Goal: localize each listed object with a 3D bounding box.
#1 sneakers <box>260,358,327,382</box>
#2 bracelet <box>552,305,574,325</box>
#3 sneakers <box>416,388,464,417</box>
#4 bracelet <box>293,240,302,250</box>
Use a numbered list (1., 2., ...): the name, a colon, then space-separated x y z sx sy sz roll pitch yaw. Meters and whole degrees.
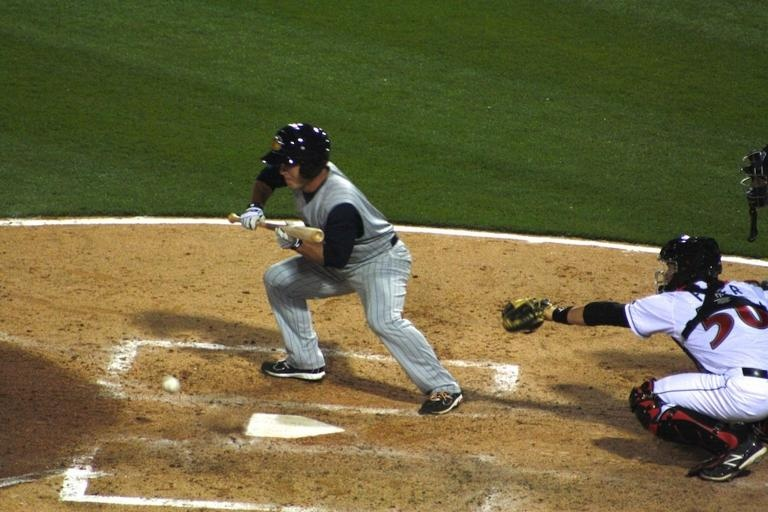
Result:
1. sneakers: -0.978 1.203 12.411 0.703 0.232 0.239 11 0 -4
2. bracelet: 1.827 0.604 11.831 0.185 0.151 0.212 6 -9 -1
3. sneakers: 0.578 1.530 11.939 0.450 0.168 0.199 -9 67 -3
4. bracelet: -0.869 -0.110 11.516 0.054 0.104 0.068 42 44 -35
